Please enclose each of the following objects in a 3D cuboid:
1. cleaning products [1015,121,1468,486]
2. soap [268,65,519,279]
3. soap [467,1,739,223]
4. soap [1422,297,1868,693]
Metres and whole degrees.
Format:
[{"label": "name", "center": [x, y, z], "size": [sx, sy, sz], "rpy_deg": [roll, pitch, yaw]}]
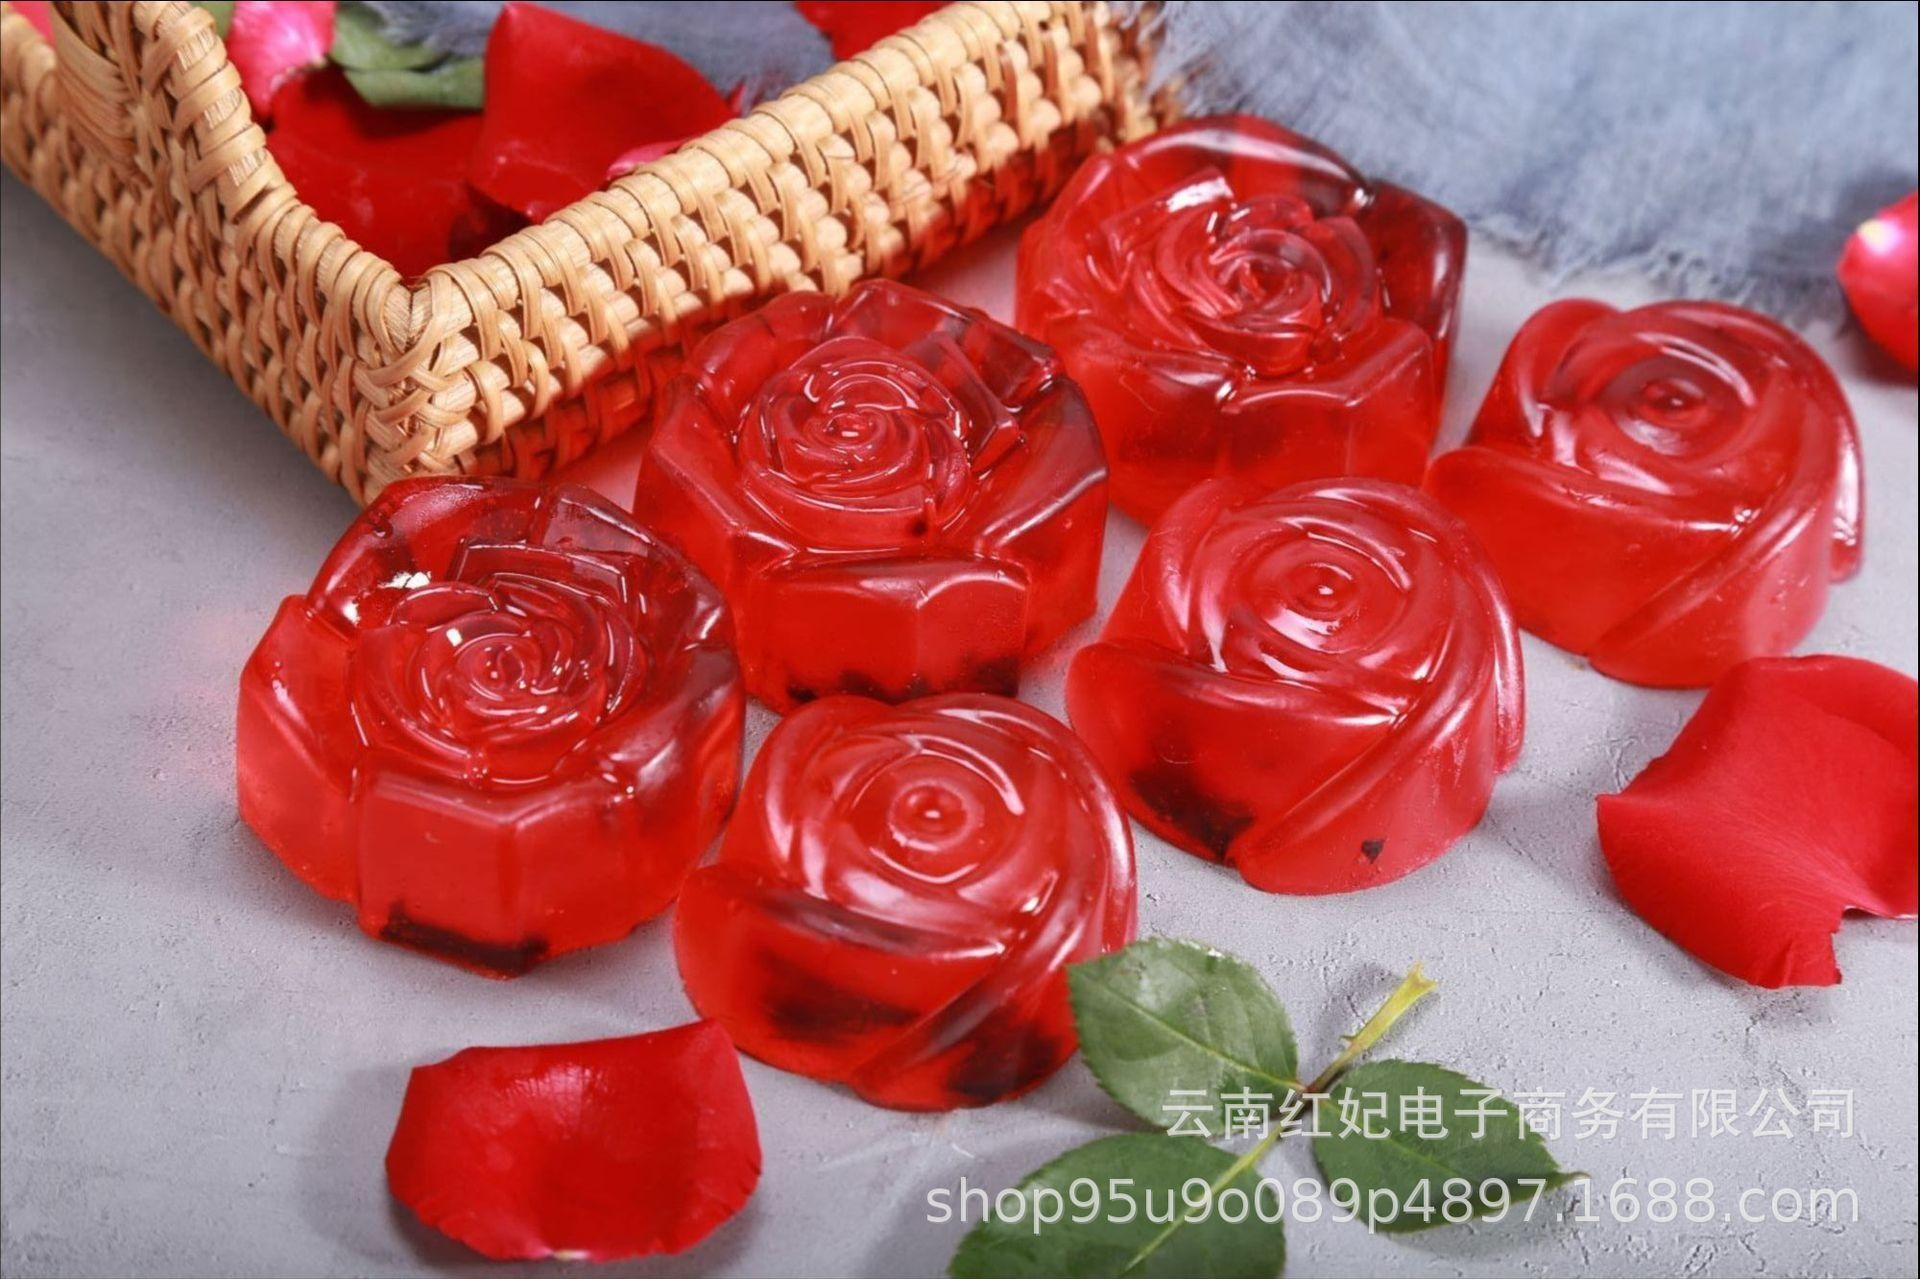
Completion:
[{"label": "cleaning products", "center": [0.183, -0.228, 1.206], "size": [0.266, 0.101, 0.283], "rpy_deg": [11, 57, 7]}, {"label": "soap", "center": [-0.401, -0.343, 1.237], "size": [0.140, 0.031, 0.220], "rpy_deg": [-33, 66, -12]}, {"label": "soap", "center": [-0.266, -0.368, 1.230], "size": [0.166, 0.072, 0.173], "rpy_deg": [18, 66, 13]}, {"label": "soap", "center": [0.480, -0.111, 1.192], "size": [0.258, 0.092, 0.264], "rpy_deg": [35, 70, 19]}]
